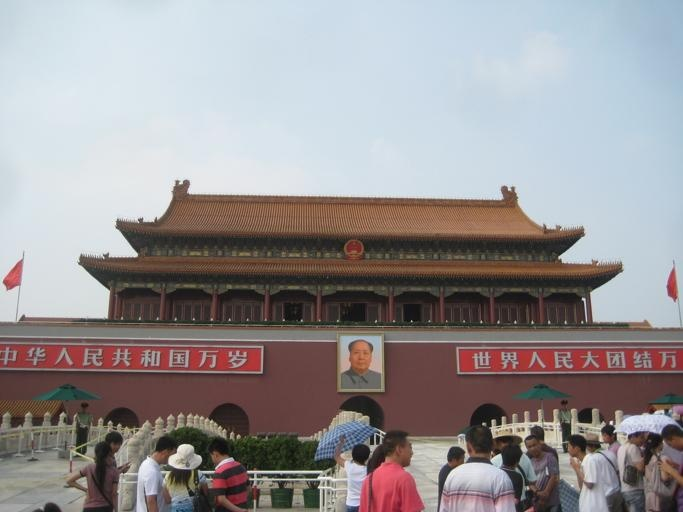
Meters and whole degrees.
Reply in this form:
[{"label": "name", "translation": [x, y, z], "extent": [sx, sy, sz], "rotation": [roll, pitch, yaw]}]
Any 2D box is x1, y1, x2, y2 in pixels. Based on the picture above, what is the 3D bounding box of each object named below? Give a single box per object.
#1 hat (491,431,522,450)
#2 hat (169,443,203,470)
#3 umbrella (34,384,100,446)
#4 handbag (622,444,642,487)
[{"label": "hat", "translation": [2.486, 2.763, 10.616], "extent": [0.524, 0.165, 0.565], "rotation": [-2, -27, -1]}, {"label": "hat", "translation": [-2.165, 2.706, 9.832], "extent": [0.328, 0.155, 0.395], "rotation": [6, 25, -10]}, {"label": "umbrella", "translation": [-7.506, 4.259, 19.259], "extent": [1.428, 1.060, 1.378], "rotation": [7, -13, -35]}, {"label": "handbag", "translation": [4.257, 3.083, 10.415], "extent": [0.204, 0.575, 0.459], "rotation": [2, -13, 12]}]
